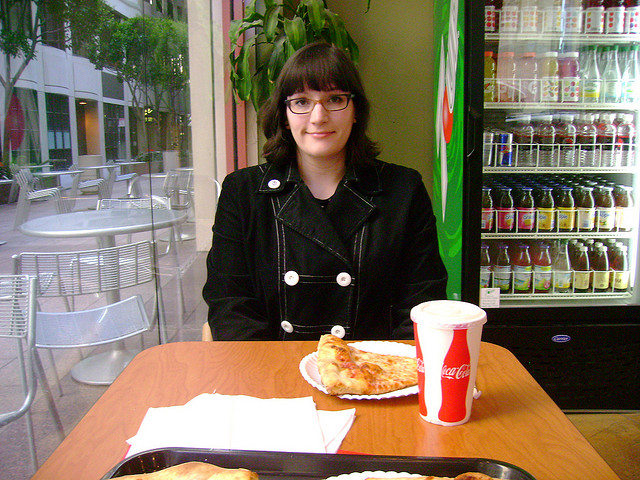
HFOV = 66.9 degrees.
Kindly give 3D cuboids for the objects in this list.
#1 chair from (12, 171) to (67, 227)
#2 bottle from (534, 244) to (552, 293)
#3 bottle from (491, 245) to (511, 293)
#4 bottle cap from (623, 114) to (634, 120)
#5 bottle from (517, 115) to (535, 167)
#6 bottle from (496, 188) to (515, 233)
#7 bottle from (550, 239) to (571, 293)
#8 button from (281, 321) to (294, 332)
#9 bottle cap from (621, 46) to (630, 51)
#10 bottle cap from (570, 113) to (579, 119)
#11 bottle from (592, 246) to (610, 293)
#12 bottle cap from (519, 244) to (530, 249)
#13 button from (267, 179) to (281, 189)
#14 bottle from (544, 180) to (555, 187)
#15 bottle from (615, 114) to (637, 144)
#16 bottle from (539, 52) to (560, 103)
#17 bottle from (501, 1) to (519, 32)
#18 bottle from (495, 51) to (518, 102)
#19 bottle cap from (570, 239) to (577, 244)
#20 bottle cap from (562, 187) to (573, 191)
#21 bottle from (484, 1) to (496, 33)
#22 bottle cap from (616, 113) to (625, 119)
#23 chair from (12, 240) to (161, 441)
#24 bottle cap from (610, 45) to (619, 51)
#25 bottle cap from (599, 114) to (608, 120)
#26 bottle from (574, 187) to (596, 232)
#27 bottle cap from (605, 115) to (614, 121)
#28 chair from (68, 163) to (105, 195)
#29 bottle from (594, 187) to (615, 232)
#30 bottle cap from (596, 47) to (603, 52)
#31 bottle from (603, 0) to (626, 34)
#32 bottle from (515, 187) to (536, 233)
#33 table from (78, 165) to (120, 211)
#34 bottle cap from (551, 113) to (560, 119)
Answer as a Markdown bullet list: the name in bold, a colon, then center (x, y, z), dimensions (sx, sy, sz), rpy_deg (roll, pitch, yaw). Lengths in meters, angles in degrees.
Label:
- **chair**: center (-1.355, -0.199, 2.373), dimensions (0.236, 0.264, 0.172), rpy_deg (1, 10, -18)
- **bottle**: center (1.328, 0.166, 2.888), dimensions (0.120, 0.286, 0.085), rpy_deg (2, 11, 3)
- **bottle**: center (1.086, 0.168, 2.909), dimensions (0.116, 0.288, 0.096), rpy_deg (2, 11, 4)
- **bottle cap**: center (1.771, -0.701, 2.793), dimensions (0.038, 0.022, 0.037), rpy_deg (-2, 2, -40)
- **bottle**: center (1.190, -0.578, 2.832), dimensions (0.106, 0.303, 0.104), rpy_deg (-3, 10, 1)
- **bottle**: center (1.086, -0.175, 2.823), dimensions (0.126, 0.256, 0.078), rpy_deg (-4, 13, -27)
- **bottle**: center (1.445, 0.154, 2.890), dimensions (0.116, 0.310, 0.114), rpy_deg (1, 11, 0)
- **button**: center (-0.109, 0.288, 1.608), dimensions (0.033, 0.032, 0.022), rpy_deg (-1, 11, -11)
- **bottle cap**: center (1.727, -1.087, 2.751), dimensions (0.030, 0.022, 0.030), rpy_deg (1, 6, 13)
- **bottle cap**: center (1.511, -0.733, 2.877), dimensions (0.040, 0.028, 0.039), rpy_deg (0, 3, 1)
- **bottle**: center (1.658, 0.171, 2.829), dimensions (0.110, 0.271, 0.073), rpy_deg (1, 11, -4)
- **bottle cap**: center (1.216, 0.039, 2.893), dimensions (0.057, 0.037, 0.087), rpy_deg (6, 12, 22)
- **button**: center (-0.161, -0.198, 1.715), dimensions (0.047, 0.031, 0.033), rpy_deg (3, 11, 8)
- **bottle**: center (1.379, -0.348, 2.917), dimensions (0.054, 0.047, 0.053), rpy_deg (2, 14, 13)
- **bottle**: center (1.751, -0.635, 2.777), dimensions (0.108, 0.170, 0.128), rpy_deg (7, 12, 26)
- **bottle**: center (1.306, -0.920, 2.755), dimensions (0.113, 0.282, 0.136), rpy_deg (6, 12, 19)
- **bottle**: center (1.049, -1.234, 2.679), dimensions (0.106, 0.167, 0.051), rpy_deg (3, 11, 6)
- **bottle**: center (1.065, -0.931, 2.771), dimensions (0.118, 0.279, 0.133), rpy_deg (5, 12, 19)
- **bottle cap**: center (1.514, 0.007, 2.903), dimensions (0.027, 0.018, 0.027), rpy_deg (0, 0, 2)
- **bottle cap**: center (1.435, -0.294, 2.802), dimensions (0.061, 0.018, 0.036), rpy_deg (-2, 12, -21)
- **bottle**: center (0.948, -1.237, 2.696), dimensions (0.040, 0.159, 0.104), rpy_deg (12, 15, 42)
- **bottle cap**: center (1.736, -0.720, 2.808), dimensions (0.037, 0.027, 0.036), rpy_deg (-2, 5, -3)
- **chair**: center (-1.437, 0.560, 3.094), dimensions (0.882, 1.160, 0.894), rpy_deg (5, 11, 37)
- **bottle cap**: center (1.666, -1.088, 2.749), dimensions (0.032, 0.028, 0.032), rpy_deg (0, 9, 8)
- **bottle cap**: center (1.631, -0.710, 2.798), dimensions (0.031, 0.033, 0.031), rpy_deg (0, -3, 5)
- **bottle**: center (1.542, -0.176, 2.804), dimensions (0.116, 0.255, 0.066), rpy_deg (-2, 12, -16)
- **bottle cap**: center (1.666, -0.705, 2.797), dimensions (0.038, 0.027, 0.039), rpy_deg (-2, 4, 31)
- **chair**: center (-1.288, -0.326, 2.699), dimensions (0.144, 0.156, 0.113), rpy_deg (-2, 20, -8)
- **bottle**: center (1.637, -0.175, 2.782), dimensions (0.107, 0.252, 0.064), rpy_deg (7, 13, 26)
- **bottle cap**: center (1.605, -1.096, 2.790), dimensions (0.037, 0.027, 0.020), rpy_deg (3, 47, 7)
- **bottle**: center (1.598, -1.211, 2.639), dimensions (0.114, 0.184, 0.079), rpy_deg (7, 12, 24)
- **bottle**: center (1.226, -0.182, 2.860), dimensions (0.097, 0.257, 0.184), rpy_deg (12, 15, 41)
- **table**: center (-1.208, -0.298, 2.749), dimensions (0.260, 0.266, 0.241), rpy_deg (-4, 19, -13)
- **bottle cap**: center (1.400, -0.735, 2.885), dimensions (0.029, 0.017, 0.028), rpy_deg (0, 3, 2)
